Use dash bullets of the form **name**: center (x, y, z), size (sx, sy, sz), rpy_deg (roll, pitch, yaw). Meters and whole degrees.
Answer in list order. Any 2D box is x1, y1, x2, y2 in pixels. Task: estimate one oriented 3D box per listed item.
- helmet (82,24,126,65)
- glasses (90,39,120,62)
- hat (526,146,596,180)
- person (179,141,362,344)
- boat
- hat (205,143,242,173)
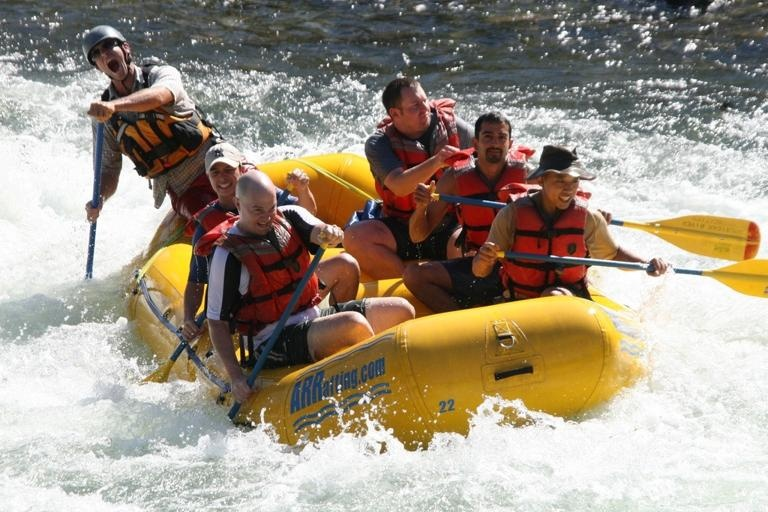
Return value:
- **helmet**: center (-2.463, -1.855, 8.480), size (0.335, 0.344, 0.235), rpy_deg (-9, 27, -14)
- **glasses**: center (-2.431, -1.788, 8.394), size (0.166, 0.087, 0.221), rpy_deg (-31, 4, 14)
- **hat**: center (1.347, -0.720, 7.367), size (0.324, 0.143, 0.312), rpy_deg (8, 7, 38)
- **person**: center (-1.241, -0.318, 8.177), size (1.340, 0.672, 1.725), rpy_deg (-21, 36, -18)
- **boat**: center (-0.186, 0.565, 7.838), size (2.436, 0.931, 3.150), rpy_deg (-17, 27, -28)
- **hat**: center (-1.321, -0.831, 7.933), size (0.219, 0.168, 0.304), rpy_deg (-14, -9, -2)
